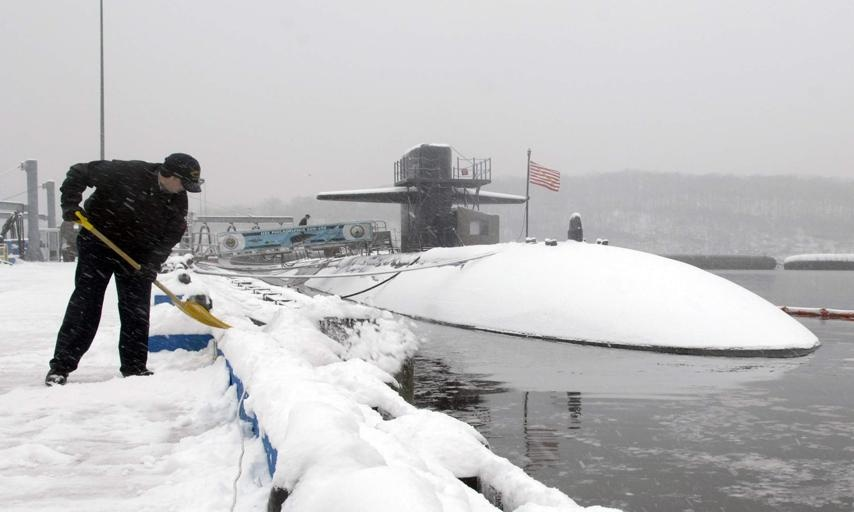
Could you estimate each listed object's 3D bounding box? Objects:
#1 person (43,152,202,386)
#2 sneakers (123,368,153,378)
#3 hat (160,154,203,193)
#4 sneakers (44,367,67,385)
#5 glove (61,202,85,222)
[{"bbox_3d":[-4.038,0.147,12.113,1.708,2.991,0.567,2,1,-18],"label":"person"},{"bbox_3d":[-3.819,1.545,12.121,0.407,0.156,0.128,0,1,-12],"label":"sneakers"},{"bbox_3d":[-3.166,-1.090,12.097,0.554,0.472,0.404,2,1,38],"label":"hat"},{"bbox_3d":[-4.736,1.548,11.695,0.259,0.205,0.256,2,1,-21],"label":"sneakers"},{"bbox_3d":[-4.572,-0.563,11.827,0.259,0.238,0.297,2,1,-25],"label":"glove"}]
